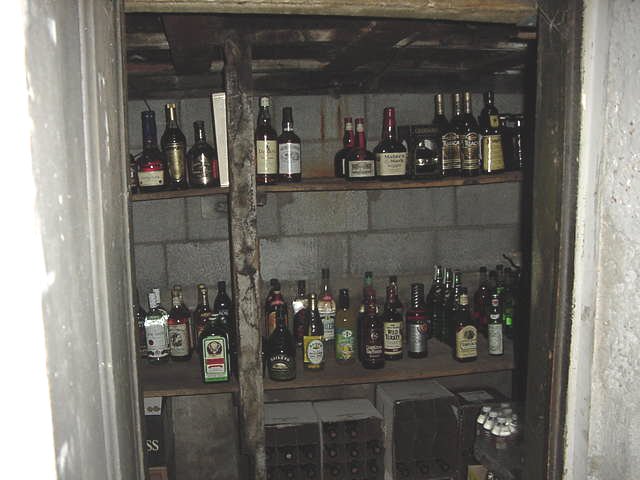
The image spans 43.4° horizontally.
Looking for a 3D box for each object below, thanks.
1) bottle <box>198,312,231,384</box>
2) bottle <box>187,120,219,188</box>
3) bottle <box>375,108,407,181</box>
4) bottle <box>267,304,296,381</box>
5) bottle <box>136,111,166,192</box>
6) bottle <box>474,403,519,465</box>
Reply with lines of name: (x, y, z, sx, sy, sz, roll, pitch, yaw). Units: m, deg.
bottle: (-0.337, 0.362, 2.609, 0.085, 0.188, 0.060, -2, 4, -4)
bottle: (-0.408, -0.296, 2.779, 0.098, 0.225, 0.356, -2, 4, -9)
bottle: (0.247, -0.343, 2.827, 0.108, 0.248, 0.215, -2, 4, 4)
bottle: (-0.137, 0.343, 2.772, 0.099, 0.237, 0.212, -2, 4, -3)
bottle: (-0.573, -0.305, 2.716, 0.094, 0.268, 0.209, -3, 4, -13)
bottle: (0.621, 0.664, 2.751, 0.161, 0.176, 0.155, 2, 6, 43)
